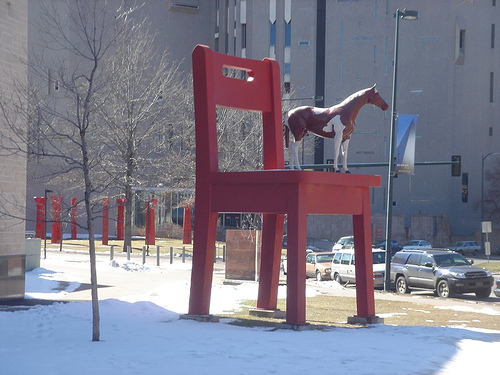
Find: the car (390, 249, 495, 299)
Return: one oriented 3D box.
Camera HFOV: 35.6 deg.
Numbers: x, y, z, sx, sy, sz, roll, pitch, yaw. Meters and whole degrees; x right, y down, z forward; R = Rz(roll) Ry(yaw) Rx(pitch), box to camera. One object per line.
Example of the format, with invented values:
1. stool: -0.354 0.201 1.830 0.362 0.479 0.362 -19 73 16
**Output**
1. car: 7.761 3.603 32.458 1.623 1.841 4.020 3 -5 -39
